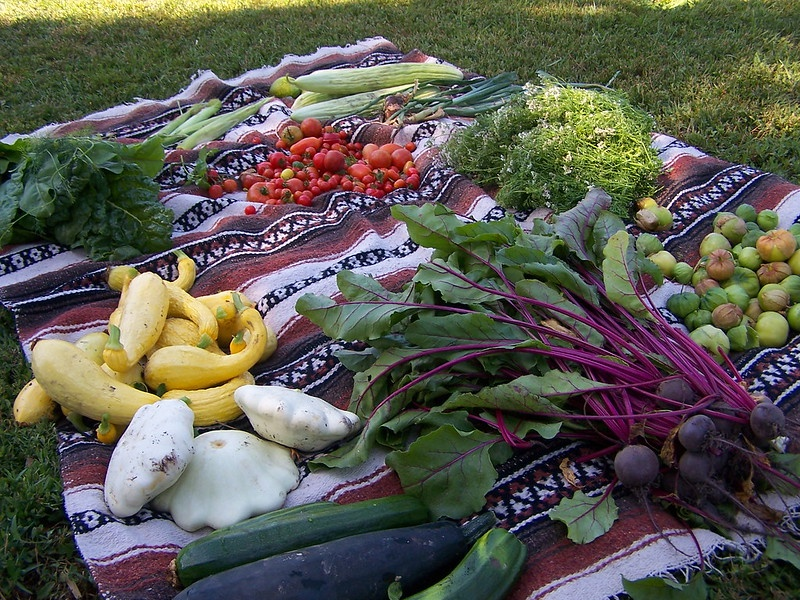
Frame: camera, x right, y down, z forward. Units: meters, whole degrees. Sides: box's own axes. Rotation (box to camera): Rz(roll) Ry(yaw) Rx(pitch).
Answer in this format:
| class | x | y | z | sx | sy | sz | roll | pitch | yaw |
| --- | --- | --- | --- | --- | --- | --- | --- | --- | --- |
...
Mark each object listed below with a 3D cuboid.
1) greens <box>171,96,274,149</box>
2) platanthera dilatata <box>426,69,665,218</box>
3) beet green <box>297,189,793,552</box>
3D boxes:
| class | x | y | z | sx | sy | sz | roll | pitch | yaw |
| --- | --- | --- | --- | --- | --- | --- | --- | --- | --- |
| greens | -1.543 | -1.530 | 5.786 | 0.220 | 0.210 | 1.204 | 11 | 37 | 42 |
| platanthera dilatata | 1.053 | -1.013 | 4.776 | 1.437 | 1.100 | 0.979 | 1 | 25 | 0 |
| beet green | 0.739 | 0.402 | 3.337 | 2.157 | 0.851 | 0.921 | 16 | 35 | 27 |
